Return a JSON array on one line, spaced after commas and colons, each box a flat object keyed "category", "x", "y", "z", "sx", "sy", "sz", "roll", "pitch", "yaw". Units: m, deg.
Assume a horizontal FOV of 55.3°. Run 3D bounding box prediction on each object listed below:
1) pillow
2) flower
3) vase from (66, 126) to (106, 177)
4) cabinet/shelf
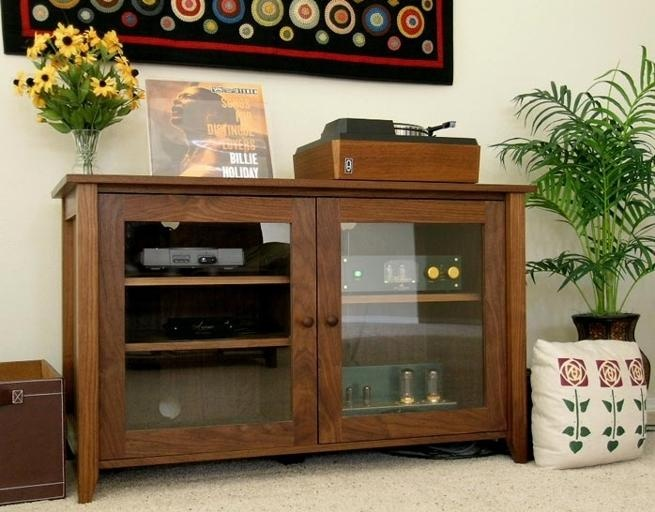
[{"category": "pillow", "x": 0.882, "y": 0.521, "z": 2.145, "sx": 0.454, "sy": 0.396, "sz": 0.232, "roll": 2, "pitch": -9, "yaw": -20}, {"category": "flower", "x": -0.867, "y": -0.578, "z": 2.211, "sx": 0.385, "sy": 0.352, "sz": 0.346, "roll": 3, "pitch": 18, "yaw": -4}, {"category": "vase", "x": -0.851, "y": -0.358, "z": 2.207, "sx": 0.117, "sy": 0.157, "sz": 0.115, "roll": 2, "pitch": -2, "yaw": -15}, {"category": "cabinet/shelf", "x": -0.120, "y": 0.246, "z": 2.291, "sx": 1.584, "sy": 0.879, "sz": 0.552, "roll": 0, "pitch": -5, "yaw": -24}]
